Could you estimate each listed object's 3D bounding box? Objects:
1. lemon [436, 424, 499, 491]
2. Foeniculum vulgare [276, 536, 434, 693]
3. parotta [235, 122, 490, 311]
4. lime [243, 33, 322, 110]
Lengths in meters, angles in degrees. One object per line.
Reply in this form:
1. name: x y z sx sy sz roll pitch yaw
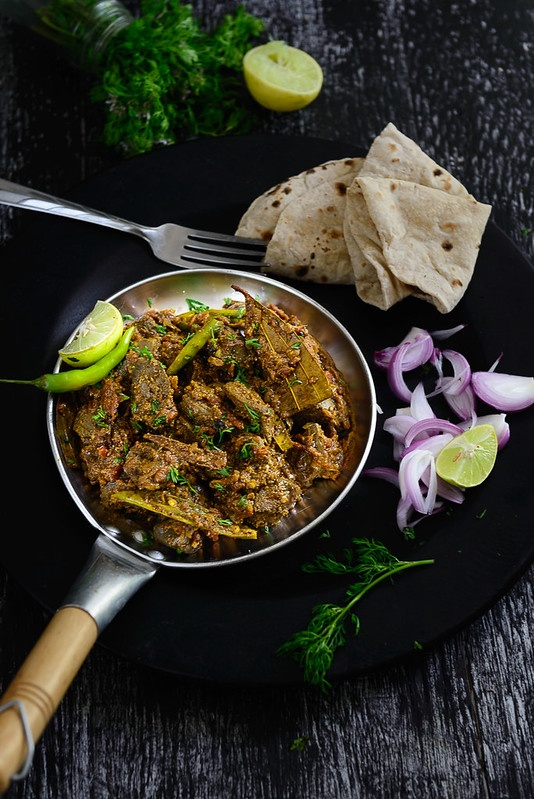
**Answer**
1. lemon: 0.833 0.210 2.936 0.221 0.293 0.092 30 22 -2
2. Foeniculum vulgare: 0.303 0.771 2.704 0.642 0.186 0.488 -52 41 -8
3. parotta: 0.433 -0.774 3.428 1.233 0.776 1.065 -22 23 -24
4. lime: 0.054 -1.555 3.524 0.370 0.223 0.363 21 56 -11
